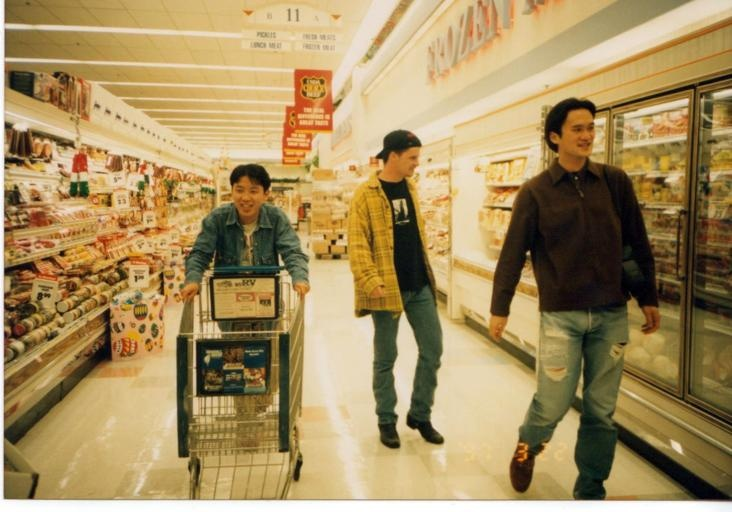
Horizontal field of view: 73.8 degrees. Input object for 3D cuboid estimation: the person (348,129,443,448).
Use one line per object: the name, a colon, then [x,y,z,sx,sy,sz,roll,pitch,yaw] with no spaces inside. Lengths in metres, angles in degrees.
person: [0.255,0.243,3.682,0.811,2.291,0.718,6,16,20]

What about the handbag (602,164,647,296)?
handbag: [1.672,-0.147,3.079,0.212,0.661,0.514,-3,3,13]

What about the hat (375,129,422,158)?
hat: [0.240,-0.825,3.668,0.309,0.160,0.191,-12,18,16]

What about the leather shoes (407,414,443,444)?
leather shoes: [0.463,1.327,3.768,0.327,0.132,0.118,26,-4,27]

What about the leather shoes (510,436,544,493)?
leather shoes: [1.048,1.400,3.232,0.158,0.421,0.176,6,8,5]
